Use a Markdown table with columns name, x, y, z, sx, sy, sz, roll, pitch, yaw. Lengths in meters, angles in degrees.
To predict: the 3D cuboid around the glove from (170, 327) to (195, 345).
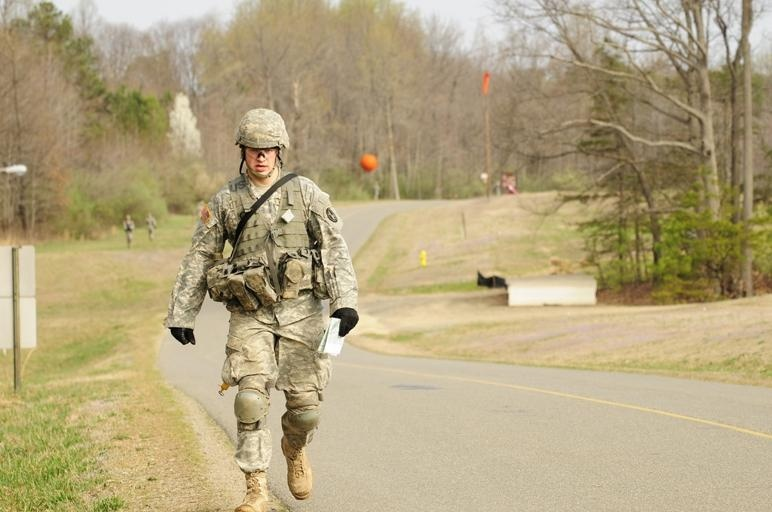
| name | x | y | z | sx | sy | sz | roll | pitch | yaw |
| --- | --- | --- | --- | --- | --- | --- | --- | --- | --- |
| glove | -3.519 | 1.370 | 18.530 | 0.432 | 0.183 | 0.344 | 1 | -13 | 22 |

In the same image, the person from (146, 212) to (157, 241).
| name | x | y | z | sx | sy | sz | roll | pitch | yaw |
| --- | --- | --- | --- | --- | --- | --- | --- | --- | --- |
| person | -6.527 | -0.810 | 29.671 | 0.118 | 0.789 | 0.512 | 1 | 10 | 14 |

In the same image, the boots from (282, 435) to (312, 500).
| name | x | y | z | sx | sy | sz | roll | pitch | yaw |
| --- | --- | --- | --- | --- | --- | --- | --- | --- | --- |
| boots | -1.568 | 3.761 | 18.810 | 0.401 | 1.284 | 0.489 | -11 | 3 | -15 |

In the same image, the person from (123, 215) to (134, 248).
| name | x | y | z | sx | sy | sz | roll | pitch | yaw |
| --- | --- | --- | --- | --- | --- | --- | --- | --- | --- |
| person | -6.997 | -0.683 | 29.113 | 0.315 | 0.877 | 0.183 | -6 | 10 | -26 |

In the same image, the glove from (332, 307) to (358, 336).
| name | x | y | z | sx | sy | sz | roll | pitch | yaw |
| --- | --- | --- | --- | --- | --- | --- | --- | --- | --- |
| glove | -0.732 | 1.141 | 18.502 | 0.458 | 0.488 | 0.193 | -4 | 4 | -38 |
